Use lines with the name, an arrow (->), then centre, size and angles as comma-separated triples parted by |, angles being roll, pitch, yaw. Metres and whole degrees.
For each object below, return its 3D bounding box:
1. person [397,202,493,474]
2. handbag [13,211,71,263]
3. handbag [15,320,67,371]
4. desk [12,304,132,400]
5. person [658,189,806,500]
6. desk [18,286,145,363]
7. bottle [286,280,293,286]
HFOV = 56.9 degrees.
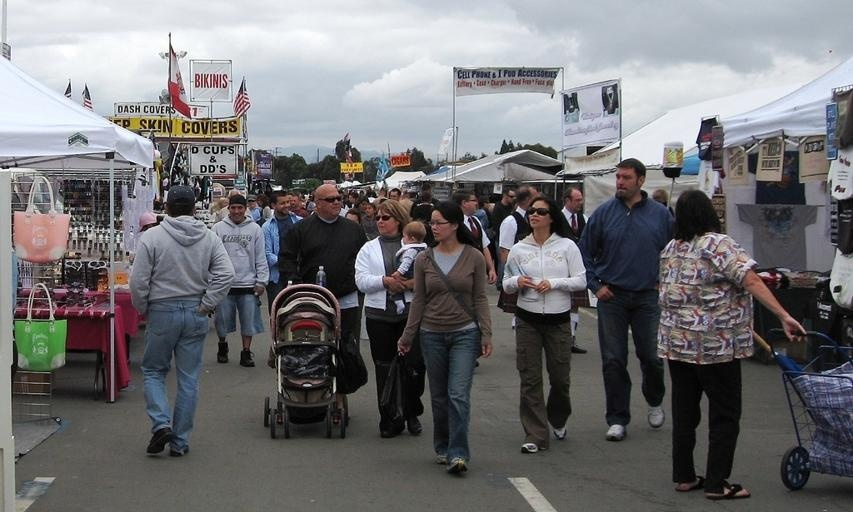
person -> 0.291, 0.854, 8.642 | 0.647, 2.878, 0.825 | -6, 10, -38
handbag -> -5.174, -0.259, 10.616 | 0.742, 0.706, 0.266 | 3, 6, 0
handbag -> -4.831, 1.098, 9.808 | 0.614, 0.727, 0.321 | 2, 7, -2
desk -> -4.760, 1.286, 11.114 | 1.410, 1.007, 1.221 | -1, -4, 4
person -> 2.847, 0.869, 7.966 | 1.119, 3.043, 0.631 | 3, 8, 22
desk -> -4.633, 0.958, 11.179 | 1.445, 0.737, 1.238 | 0, -2, 3
bottle -> -1.760, 0.345, 10.019 | 0.056, 0.070, 0.068 | 6, -39, -8
